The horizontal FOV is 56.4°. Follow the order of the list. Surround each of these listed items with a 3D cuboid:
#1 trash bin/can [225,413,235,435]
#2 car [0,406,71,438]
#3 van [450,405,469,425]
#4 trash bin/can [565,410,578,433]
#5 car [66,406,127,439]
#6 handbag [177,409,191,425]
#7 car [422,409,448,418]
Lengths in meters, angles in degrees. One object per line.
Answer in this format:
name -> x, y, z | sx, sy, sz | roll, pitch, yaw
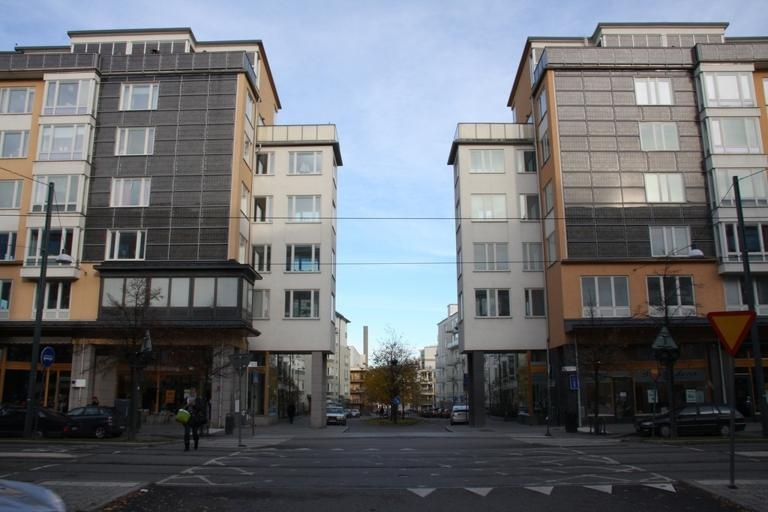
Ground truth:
trash bin/can -> -9.708, 10.429, 44.552 | 0.472, 1.284, 1.047 | 3, -14, -15
car -> -19.259, 9.200, 39.360 | 4.109, 1.264, 1.711 | 1, -8, 4
van -> 6.597, 13.990, 63.010 | 1.524, 1.516, 1.779 | -1, -14, 0
trash bin/can -> 11.909, 10.574, 45.547 | 0.726, 1.213, 0.353 | 2, -14, -11
car -> -15.918, 9.143, 39.377 | 2.806, 1.173, 1.586 | 4, -11, -8
handbag -> -9.579, 7.707, 34.177 | 0.698, 0.651, 0.165 | 18, 7, 18
car -> 7.497, 22.174, 101.508 | 1.502, 1.263, 5.558 | 13, -17, -38
